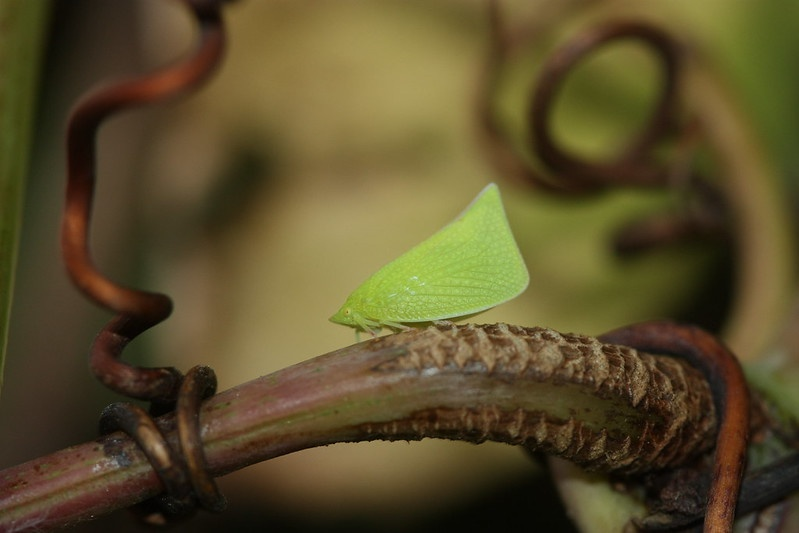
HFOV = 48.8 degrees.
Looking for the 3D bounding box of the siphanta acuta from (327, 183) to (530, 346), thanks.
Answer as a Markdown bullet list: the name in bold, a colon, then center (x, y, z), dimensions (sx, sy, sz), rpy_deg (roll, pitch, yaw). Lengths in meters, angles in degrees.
- **siphanta acuta**: center (0.026, 0.000, 0.869), dimensions (0.192, 0.120, 0.098), rpy_deg (-14, 15, -4)
